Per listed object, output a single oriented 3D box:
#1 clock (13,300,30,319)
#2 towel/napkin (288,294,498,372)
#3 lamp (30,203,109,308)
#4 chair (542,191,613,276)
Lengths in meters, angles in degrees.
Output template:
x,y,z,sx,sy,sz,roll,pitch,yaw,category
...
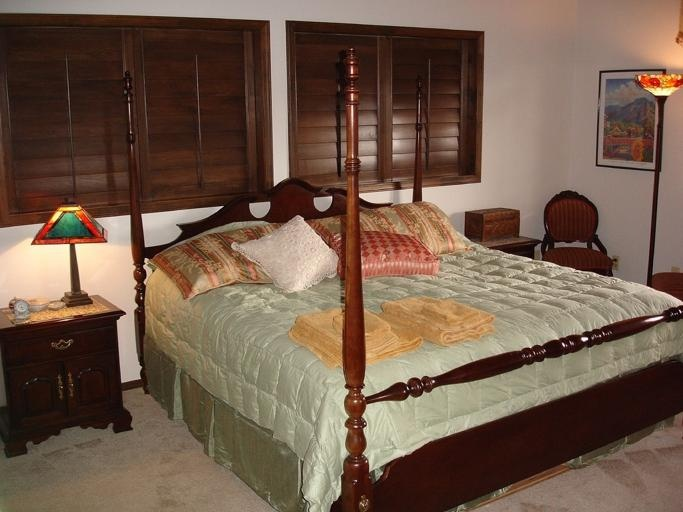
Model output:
x,y,z,sx,sy,sz,roll,pitch,yaw,category
-1.945,0.325,3.120,0.077,0.106,0.077,-7,15,-17,clock
0.300,0.350,2.536,0.546,0.118,0.461,4,11,33,towel/napkin
-1.702,-0.004,3.290,0.376,0.668,0.248,-1,15,7,lamp
2.330,-0.126,5.151,0.714,0.911,0.682,1,18,17,chair
